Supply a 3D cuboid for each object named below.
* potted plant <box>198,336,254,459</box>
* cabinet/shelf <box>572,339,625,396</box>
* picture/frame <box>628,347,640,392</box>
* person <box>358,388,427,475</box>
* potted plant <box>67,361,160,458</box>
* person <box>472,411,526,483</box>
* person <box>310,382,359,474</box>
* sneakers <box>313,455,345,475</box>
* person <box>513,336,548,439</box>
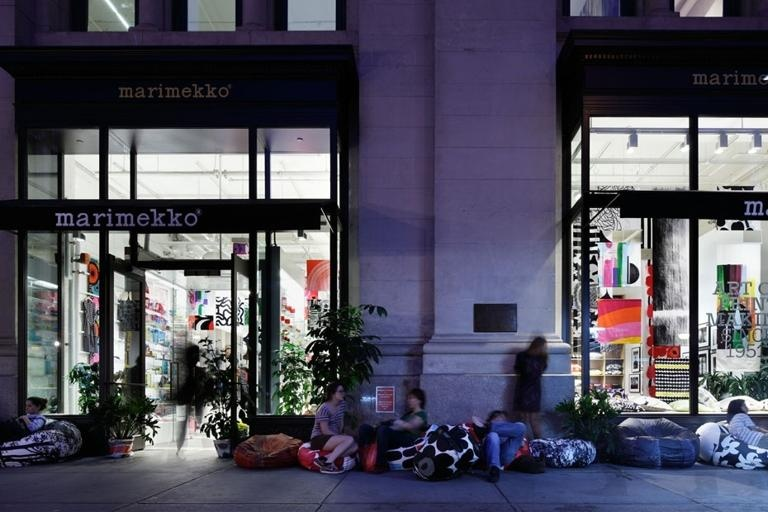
[{"bbox_3d":[-3.290,3.074,17.564,0.880,2.137,0.992,-9,-17,30],"label":"potted plant"},{"bbox_3d":[4.335,2.216,17.294,1.051,1.113,0.529,-2,-8,12],"label":"cabinet/shelf"},{"bbox_3d":[5.110,2.308,17.495,0.311,0.900,0.142,4,-9,-28],"label":"picture/frame"},{"bbox_3d":[0.144,3.194,15.701,1.247,1.467,0.554,-1,-8,1],"label":"person"},{"bbox_3d":[-5.312,3.326,17.521,1.194,1.225,0.826,3,-11,-6],"label":"potted plant"},{"bbox_3d":[2.020,3.374,15.308,0.821,1.130,1.310,-5,-9,29],"label":"person"},{"bbox_3d":[-0.943,3.246,15.950,0.990,1.663,0.891,-10,-25,16],"label":"person"},{"bbox_3d":[-1.037,3.803,15.542,0.594,0.258,0.209,13,-5,-7],"label":"sneakers"},{"bbox_3d":[2.858,2.577,16.766,0.689,1.935,0.428,-2,-8,8],"label":"person"}]
